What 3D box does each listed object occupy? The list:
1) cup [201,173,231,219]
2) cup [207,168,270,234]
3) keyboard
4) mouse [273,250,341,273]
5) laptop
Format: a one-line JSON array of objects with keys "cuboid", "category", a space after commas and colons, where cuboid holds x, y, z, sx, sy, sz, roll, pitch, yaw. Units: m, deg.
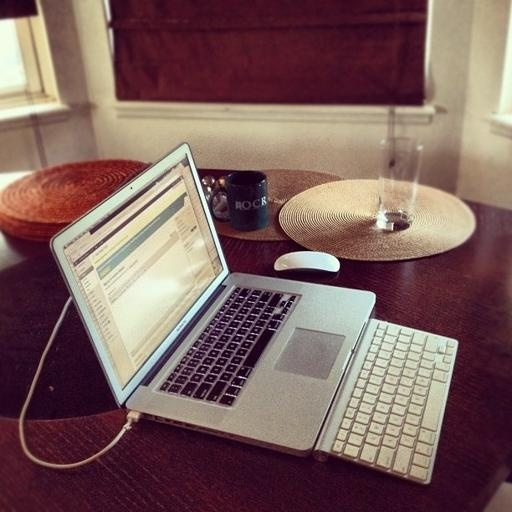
[{"cuboid": [-0.070, -0.112, 0.931, 0.066, 0.082, 0.057, -4, 49, -2], "category": "cup"}, {"cuboid": [-0.033, -0.095, 0.874, 0.125, 0.082, 0.067, -5, 23, -6], "category": "cup"}, {"cuboid": [0.136, 0.152, 0.508, 0.110, 0.015, 0.200, 12, 33, 18], "category": "keyboard"}, {"cuboid": [0.084, 0.009, 0.743, 0.097, 0.020, 0.034, 2, 29, 7], "category": "mouse"}, {"cuboid": [-0.021, 0.027, 0.561, 0.305, 0.204, 0.321, 14, 32, 22], "category": "laptop"}]
